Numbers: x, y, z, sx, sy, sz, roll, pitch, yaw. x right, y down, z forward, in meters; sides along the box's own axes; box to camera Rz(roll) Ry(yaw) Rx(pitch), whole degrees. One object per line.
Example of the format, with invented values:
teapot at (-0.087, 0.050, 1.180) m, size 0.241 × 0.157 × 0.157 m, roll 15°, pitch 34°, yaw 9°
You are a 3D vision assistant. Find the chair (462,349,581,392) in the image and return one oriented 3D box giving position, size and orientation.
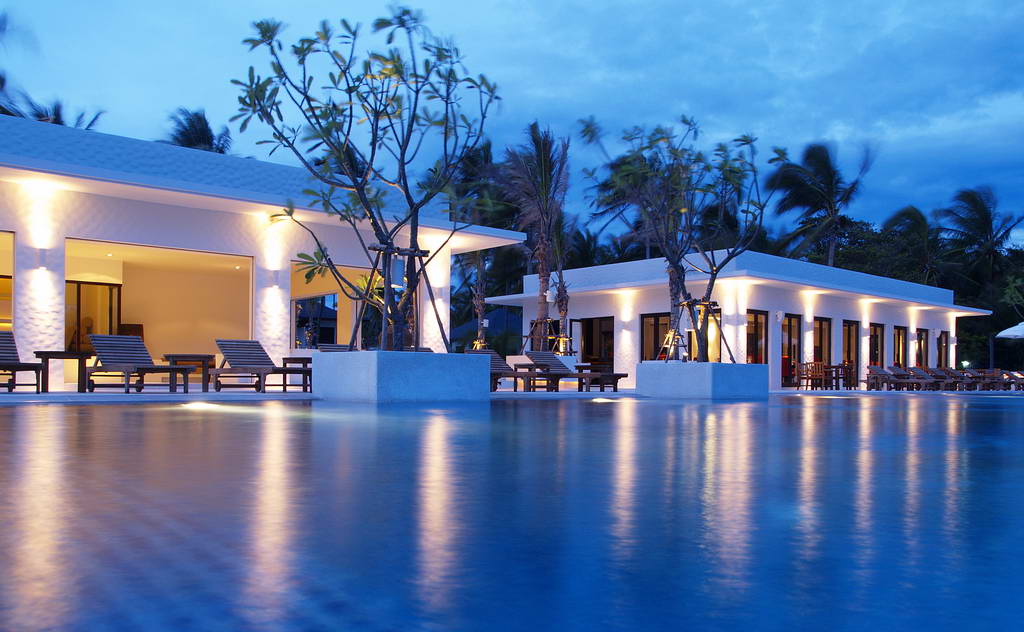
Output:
chair at (0.430, 1.311, 21.279) m, size 1.802 × 0.895 × 4.022 m, roll -2°, pitch -3°, yaw 0°

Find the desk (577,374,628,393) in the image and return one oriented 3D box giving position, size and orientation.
desk at (2.340, 1.718, 23.709) m, size 1.109 × 0.479 × 6.819 m, roll -2°, pitch -3°, yaw 5°
